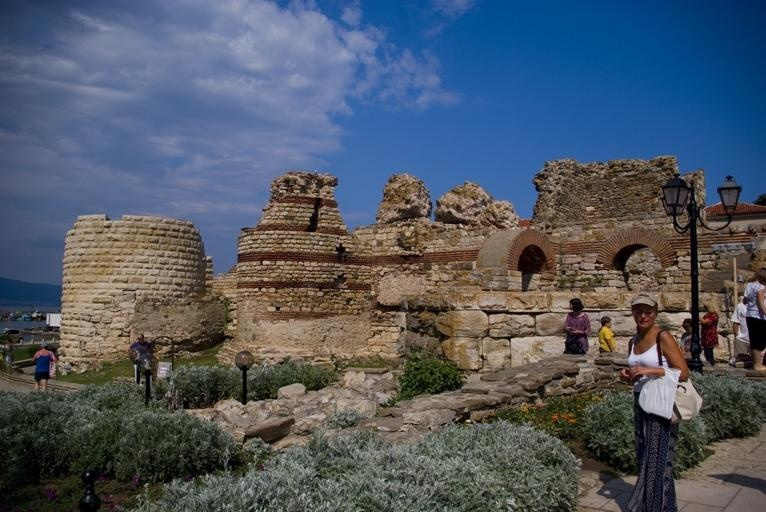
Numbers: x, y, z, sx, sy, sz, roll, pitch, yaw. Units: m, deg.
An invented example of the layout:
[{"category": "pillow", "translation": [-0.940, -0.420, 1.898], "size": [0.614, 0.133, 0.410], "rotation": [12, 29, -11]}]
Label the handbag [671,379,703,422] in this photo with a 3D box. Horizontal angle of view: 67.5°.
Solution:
[{"category": "handbag", "translation": [3.870, 1.857, 7.314], "size": [0.368, 0.522, 0.137], "rotation": [5, -9, -15]}]

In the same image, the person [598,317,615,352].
[{"category": "person", "translation": [4.882, 1.734, 12.546], "size": [0.322, 0.779, 0.766], "rotation": [-1, -9, 19]}]

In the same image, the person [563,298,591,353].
[{"category": "person", "translation": [4.081, 1.517, 12.113], "size": [0.483, 1.166, 1.201], "rotation": [0, -9, 18]}]

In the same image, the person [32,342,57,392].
[{"category": "person", "translation": [-9.465, 3.130, 16.033], "size": [0.502, 1.254, 1.881], "rotation": [7, -10, -29]}]
